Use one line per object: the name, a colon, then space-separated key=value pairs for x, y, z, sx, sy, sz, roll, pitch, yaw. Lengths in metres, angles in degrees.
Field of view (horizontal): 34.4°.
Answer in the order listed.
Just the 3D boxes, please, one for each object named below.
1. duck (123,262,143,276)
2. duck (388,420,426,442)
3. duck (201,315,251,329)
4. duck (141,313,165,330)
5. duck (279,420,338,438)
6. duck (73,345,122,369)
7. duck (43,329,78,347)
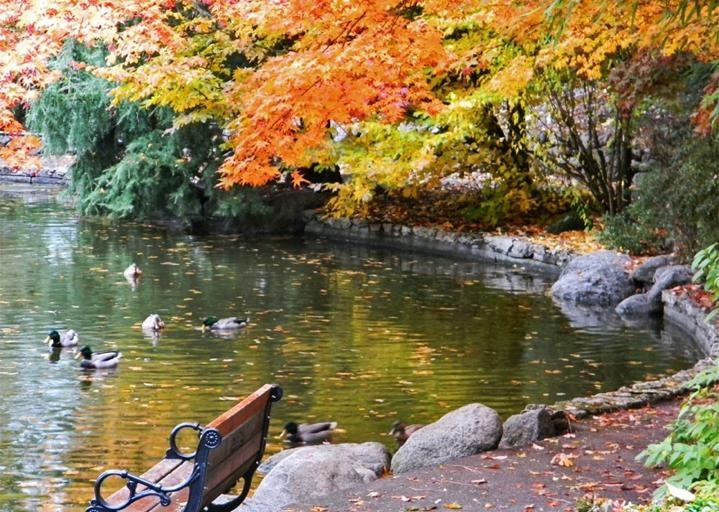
duck: x=-4.841 y=0.306 z=24.694 sx=0.283 sy=0.221 sz=0.359 roll=2 pitch=7 yaw=2
duck: x=0.642 y=2.486 z=16.367 sx=0.391 sy=0.141 sz=0.270 roll=-3 pitch=1 yaw=18
duck: x=-2.391 y=1.216 z=20.564 sx=0.712 sy=0.248 sz=0.273 roll=1 pitch=-14 yaw=-1
duck: x=-3.642 y=1.195 z=20.378 sx=0.382 sy=0.242 sz=0.376 roll=-2 pitch=0 yaw=-10
duck: x=-0.706 y=2.446 z=16.332 sx=0.668 sy=0.304 sz=0.280 roll=1 pitch=-1 yaw=-1
duck: x=-4.218 y=1.649 z=18.548 sx=0.629 sy=0.334 sz=0.325 roll=5 pitch=-3 yaw=-11
duck: x=-4.978 y=1.399 z=19.383 sx=0.305 sy=0.285 sz=0.487 roll=-2 pitch=-5 yaw=24
